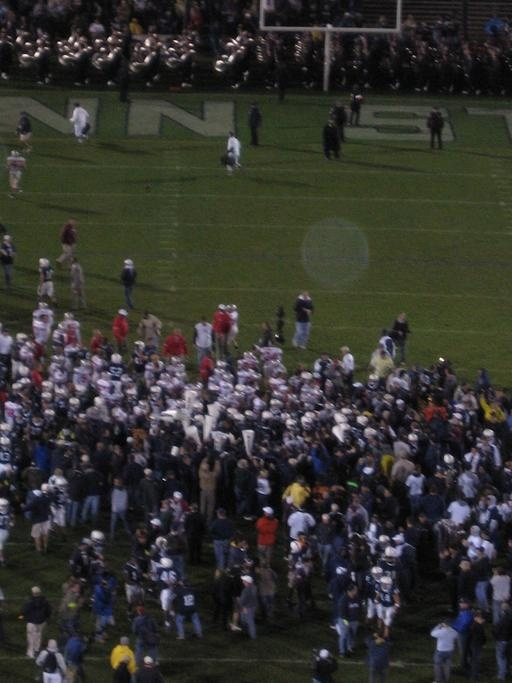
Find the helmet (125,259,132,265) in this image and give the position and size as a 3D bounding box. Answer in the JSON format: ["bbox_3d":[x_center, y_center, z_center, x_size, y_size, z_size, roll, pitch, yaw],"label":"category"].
[{"bbox_3d":[-2.669,-1.672,35.762,0.142,0.114,0.160,1,5,3],"label":"helmet"}]

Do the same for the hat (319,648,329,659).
[{"bbox_3d":[0.871,4.222,23.289,0.121,0.082,0.103,0,0,-29],"label":"hat"}]

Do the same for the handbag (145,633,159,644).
[{"bbox_3d":[-1.461,4.137,24.154,0.158,0.109,0.119,9,12,35],"label":"handbag"}]

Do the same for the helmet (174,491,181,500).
[{"bbox_3d":[-1.245,2.413,26.963,0.134,0.135,0.380,1,-1,-2],"label":"helmet"}]

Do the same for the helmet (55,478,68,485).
[{"bbox_3d":[-3.069,2.200,27.208,0.144,0.107,0.112,-24,-9,3],"label":"helmet"}]

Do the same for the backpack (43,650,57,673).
[{"bbox_3d":[-2.776,4.329,23.293,0.194,0.303,0.125,1,-1,-11],"label":"backpack"}]

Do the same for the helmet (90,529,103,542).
[{"bbox_3d":[-2.397,2.917,25.929,0.154,0.160,0.497,1,-1,-2],"label":"helmet"}]

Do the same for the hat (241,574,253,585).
[{"bbox_3d":[-0.164,3.460,25.136,0.156,0.119,0.121,4,-12,0],"label":"hat"}]
